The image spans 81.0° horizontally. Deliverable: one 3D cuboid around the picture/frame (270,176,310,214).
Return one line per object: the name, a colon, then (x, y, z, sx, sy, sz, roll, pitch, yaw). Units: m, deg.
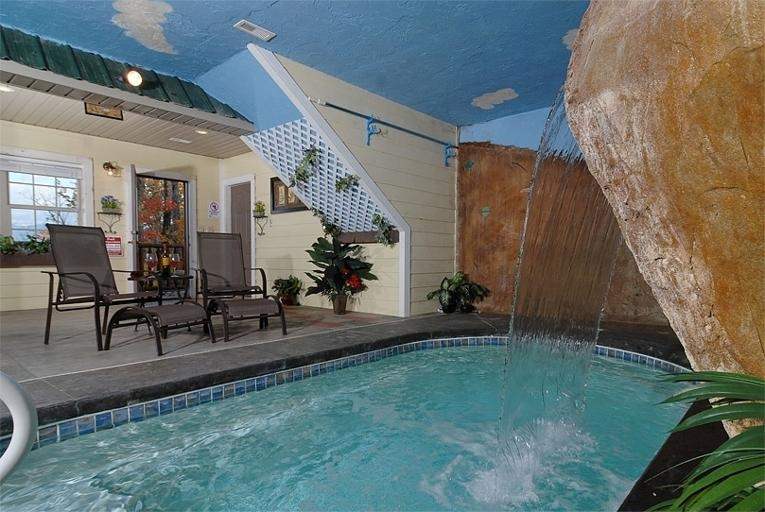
picture/frame: (-1.593, -1.093, 7.861, 0.913, 0.541, 0.118, -1, 2, 41)

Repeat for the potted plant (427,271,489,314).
potted plant: (1.249, 0.594, 7.384, 0.869, 0.406, 0.784, -1, 1, -13)

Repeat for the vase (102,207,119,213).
vase: (-4.874, -0.839, 8.151, 0.112, 0.081, 0.312, 6, 11, 26)

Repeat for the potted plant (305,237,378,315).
potted plant: (-0.711, 0.325, 7.242, 1.342, 1.065, 1.064, -7, 15, 28)

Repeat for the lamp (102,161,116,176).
lamp: (-4.937, -1.604, 8.184, 0.097, 0.245, 0.210, 10, 14, 34)

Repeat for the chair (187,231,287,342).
chair: (-1.847, 0.316, 5.611, 0.751, 1.019, 1.647, -2, 9, -34)

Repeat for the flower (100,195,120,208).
flower: (-4.905, -0.977, 8.151, 0.280, 0.167, 0.253, 2, -7, 9)

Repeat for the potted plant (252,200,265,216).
potted plant: (-2.345, -0.910, 8.579, 0.200, 0.299, 0.261, 1, 11, 0)

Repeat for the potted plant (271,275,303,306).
potted plant: (-1.654, 0.609, 8.328, 0.634, 0.468, 0.574, -3, -3, 13)
